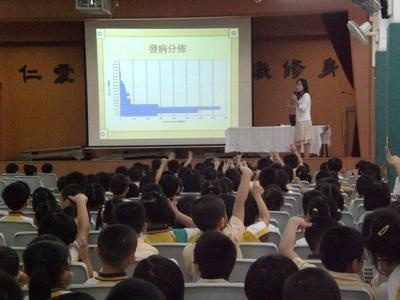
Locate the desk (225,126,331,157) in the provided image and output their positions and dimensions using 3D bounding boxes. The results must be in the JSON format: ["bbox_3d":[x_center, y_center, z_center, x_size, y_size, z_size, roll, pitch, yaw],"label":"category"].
[{"bbox_3d":[1.369,-0.196,8.612,1.265,0.402,0.825,0,5,4],"label":"desk"}]
